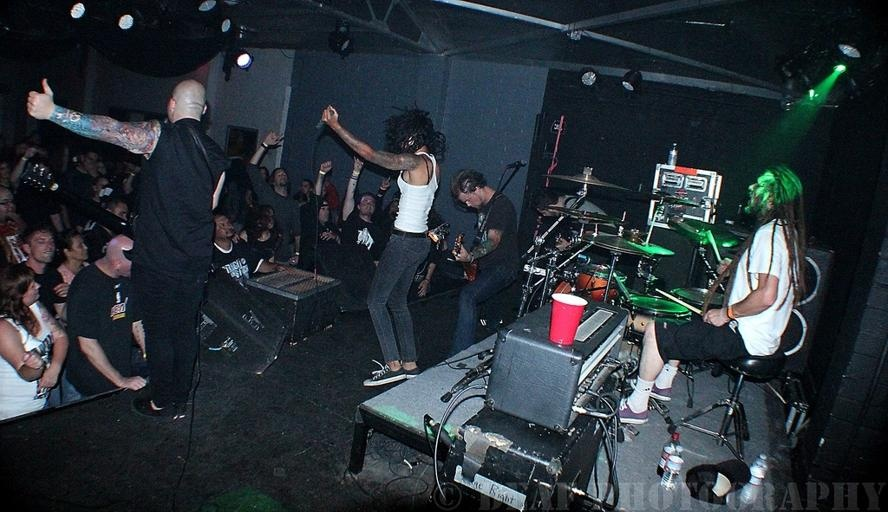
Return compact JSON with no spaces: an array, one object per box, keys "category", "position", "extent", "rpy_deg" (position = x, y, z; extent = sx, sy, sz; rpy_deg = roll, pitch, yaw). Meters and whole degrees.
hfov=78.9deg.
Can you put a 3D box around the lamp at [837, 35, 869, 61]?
[{"category":"lamp","position":[4.821,-2.459,6.407],"extent":[0.229,0.071,0.243],"rpy_deg":[38,-3,31]}]

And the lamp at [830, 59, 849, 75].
[{"category":"lamp","position":[5.102,-2.433,6.959],"extent":[0.121,0.060,0.156],"rpy_deg":[25,-16,12]}]

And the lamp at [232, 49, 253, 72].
[{"category":"lamp","position":[-3.309,-3.271,8.903],"extent":[0.240,0.290,0.345],"rpy_deg":[6,11,-26]}]

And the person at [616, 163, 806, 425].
[{"category":"person","position":[2.727,0.427,5.273],"extent":[1.314,2.710,0.562],"rpy_deg":[12,11,2]}]

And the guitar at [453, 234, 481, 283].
[{"category":"guitar","position":[0.257,0.078,6.866],"extent":[0.347,0.114,0.692],"rpy_deg":[6,-34,25]}]

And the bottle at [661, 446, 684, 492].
[{"category":"bottle","position":[2.057,1.952,4.914],"extent":[0.168,0.341,0.152],"rpy_deg":[19,-16,-4]}]

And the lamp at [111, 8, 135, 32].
[{"category":"lamp","position":[-4.219,-3.119,7.158],"extent":[0.244,0.245,0.158],"rpy_deg":[0,16,-46]}]

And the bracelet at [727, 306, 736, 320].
[{"category":"bracelet","position":[2.707,0.544,5.134],"extent":[0.043,0.108,0.086],"rpy_deg":[-20,-35,26]}]

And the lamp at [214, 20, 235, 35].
[{"category":"lamp","position":[-3.234,-3.416,8.061],"extent":[0.098,0.233,0.338],"rpy_deg":[12,10,-2]}]

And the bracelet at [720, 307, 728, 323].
[{"category":"bracelet","position":[2.653,0.560,5.150],"extent":[0.063,0.109,0.087],"rpy_deg":[1,-9,20]}]

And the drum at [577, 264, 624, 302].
[{"category":"drum","position":[1.965,0.384,7.346],"extent":[0.692,0.481,0.648],"rpy_deg":[7,10,-1]}]

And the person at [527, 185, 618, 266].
[{"category":"person","position":[1.838,-0.530,8.478],"extent":[1.275,0.677,1.611],"rpy_deg":[21,15,34]}]

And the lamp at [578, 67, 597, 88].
[{"category":"lamp","position":[2.419,-3.015,9.117],"extent":[0.241,0.155,0.250],"rpy_deg":[-5,-11,5]}]

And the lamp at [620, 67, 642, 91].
[{"category":"lamp","position":[3.078,-2.854,8.878],"extent":[0.300,0.348,0.389],"rpy_deg":[24,40,22]}]

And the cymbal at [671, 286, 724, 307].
[{"category":"cymbal","position":[2.865,0.444,6.262],"extent":[0.360,0.091,0.339],"rpy_deg":[-3,16,-31]}]

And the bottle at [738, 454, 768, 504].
[{"category":"bottle","position":[2.887,2.024,4.976],"extent":[0.147,0.318,0.496],"rpy_deg":[20,14,35]}]

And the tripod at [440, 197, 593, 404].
[{"category":"tripod","position":[0.827,0.477,6.071],"extent":[1.345,2.974,1.311],"rpy_deg":[10,-25,7]}]

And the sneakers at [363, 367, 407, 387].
[{"category":"sneakers","position":[-0.637,1.318,5.873],"extent":[0.569,0.213,0.197],"rpy_deg":[-2,-4,7]}]

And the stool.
[{"category":"stool","position":[2.928,1.489,5.452],"extent":[0.892,0.886,0.817],"rpy_deg":[14,13,-7]}]

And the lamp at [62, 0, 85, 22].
[{"category":"lamp","position":[-4.595,-3.048,6.733],"extent":[0.199,0.206,0.100],"rpy_deg":[36,8,-37]}]

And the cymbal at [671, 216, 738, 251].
[{"category":"cymbal","position":[3.274,-0.326,6.939],"extent":[0.505,0.135,0.529],"rpy_deg":[6,17,-19]}]
